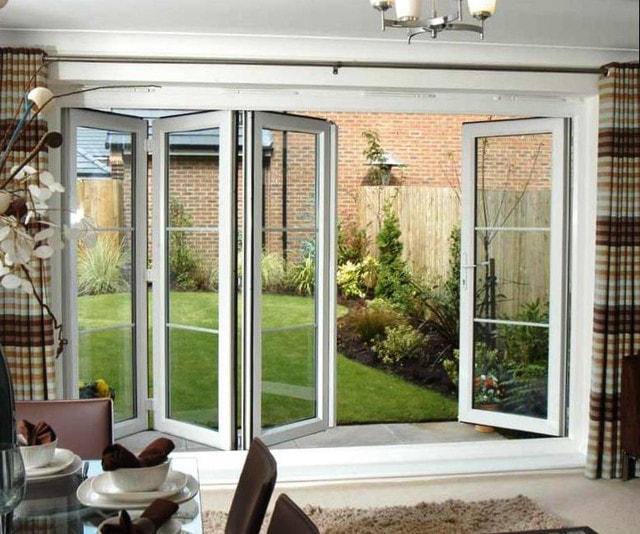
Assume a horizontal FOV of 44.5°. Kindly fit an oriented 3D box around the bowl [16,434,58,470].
[{"bbox_3d":[-1.171,0.770,3.273,0.110,0.097,0.127,-1,-5,1],"label":"bowl"}]
